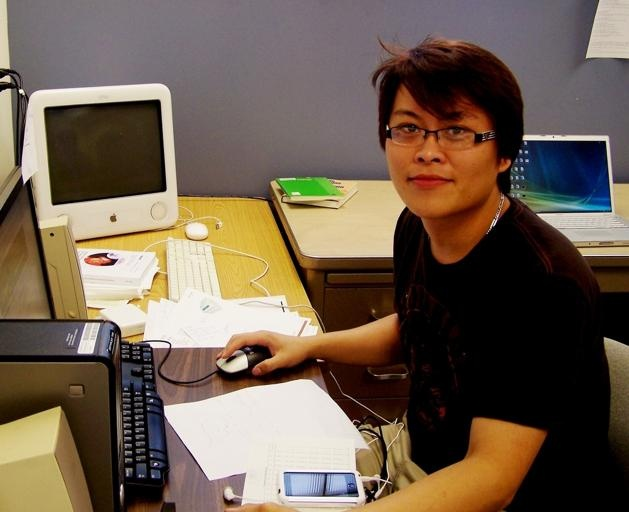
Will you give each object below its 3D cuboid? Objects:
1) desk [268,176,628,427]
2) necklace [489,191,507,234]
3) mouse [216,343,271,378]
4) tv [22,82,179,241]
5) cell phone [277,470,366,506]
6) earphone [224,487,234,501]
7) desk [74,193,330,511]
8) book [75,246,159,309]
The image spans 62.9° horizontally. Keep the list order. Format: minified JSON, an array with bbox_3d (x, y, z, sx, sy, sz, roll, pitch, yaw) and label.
[{"bbox_3d":[0.417,0.307,2.209,1.211,1.211,0.849,-2,23,-2],"label":"desk"},{"bbox_3d":[0.353,-0.076,0.993,0.014,0.077,0.048,12,-6,-1],"label":"necklace"},{"bbox_3d":[-0.158,0.237,1.155,0.096,0.034,0.056,-23,41,-26],"label":"mouse"},{"bbox_3d":[-0.685,-0.285,1.640,0.463,0.494,0.165,-8,22,-29],"label":"tv"},{"bbox_3d":[0.013,0.388,0.864,0.106,0.019,0.060,3,19,-4],"label":"cell phone"},{"bbox_3d":[-0.143,0.396,0.862,0.018,0.019,0.023,-6,13,-13],"label":"earphone"},{"bbox_3d":[-0.295,0.415,1.610,0.506,0.514,1.035,1,37,-5],"label":"desk"},{"bbox_3d":[-0.573,0.070,1.481,0.178,0.046,0.187,-2,31,-12],"label":"book"}]
